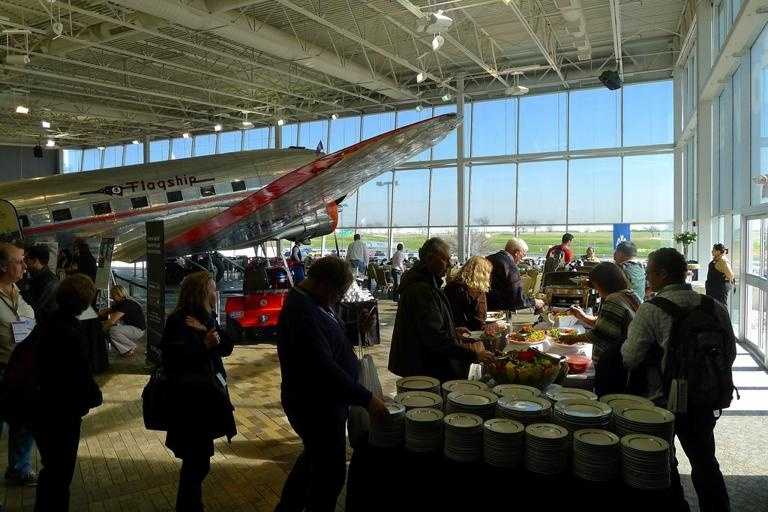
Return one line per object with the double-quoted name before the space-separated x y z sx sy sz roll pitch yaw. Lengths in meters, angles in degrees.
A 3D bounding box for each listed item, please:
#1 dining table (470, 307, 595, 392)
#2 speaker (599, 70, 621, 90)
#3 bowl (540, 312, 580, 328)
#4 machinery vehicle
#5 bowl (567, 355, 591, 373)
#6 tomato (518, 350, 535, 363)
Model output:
"dining table" 1.115 0.709 3.825 0.609 0.211 0.584 -6 2 0
"speaker" 5.885 -4.618 13.253 0.447 0.524 0.766 3 5 25
"bowl" 1.576 0.589 4.596 0.255 0.076 0.185 -1 1 2
"machinery vehicle" -1.912 0.584 8.537 1.177 0.948 1.713 0 13 -6
"bowl" 1.416 0.777 3.689 0.142 0.040 0.133 -5 4 0
"tomato" 0.955 0.670 3.411 0.082 0.032 0.074 1 13 -6
